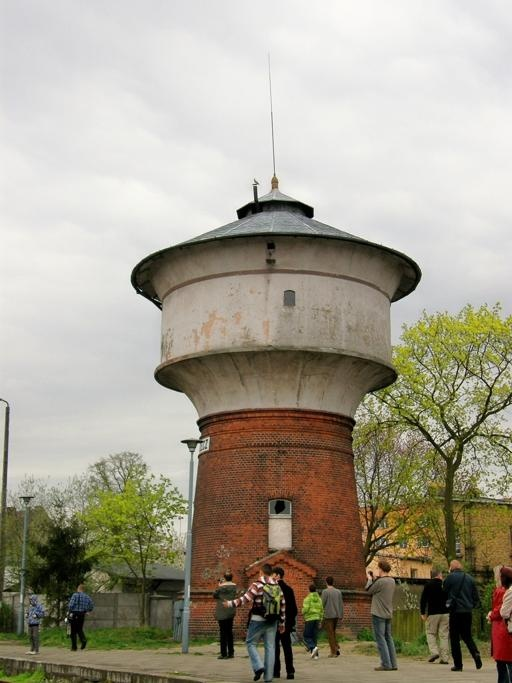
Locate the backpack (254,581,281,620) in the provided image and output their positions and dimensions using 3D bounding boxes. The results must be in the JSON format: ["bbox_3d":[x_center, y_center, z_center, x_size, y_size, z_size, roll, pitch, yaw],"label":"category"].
[{"bbox_3d":[0.139,3.062,10.330,0.345,0.448,0.209,1,-13,-11],"label":"backpack"}]

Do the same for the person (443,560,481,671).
[{"bbox_3d":[2.922,3.920,12.550,0.482,1.547,1.279,-4,-13,12],"label":"person"}]

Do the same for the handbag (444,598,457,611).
[{"bbox_3d":[2.672,3.629,12.177,0.170,0.210,0.173,3,-18,5],"label":"handbag"}]
